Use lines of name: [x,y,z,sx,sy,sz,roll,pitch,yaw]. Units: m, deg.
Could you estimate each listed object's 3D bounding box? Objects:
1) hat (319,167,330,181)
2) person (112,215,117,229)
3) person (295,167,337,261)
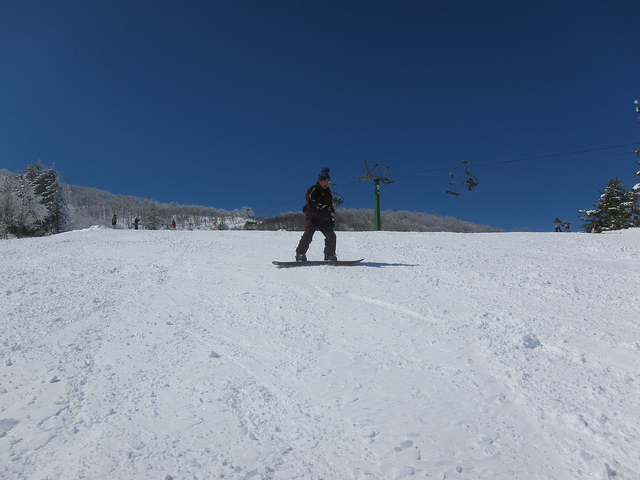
hat: [0.084,-1.322,9.534,0.191,0.276,0.384,-1,15,-1]
person: [-14.384,-1.276,32.877,0.223,0.915,0.944,-8,16,-26]
person: [-0.085,-0.510,9.612,0.842,1.881,0.962,-2,14,-3]
